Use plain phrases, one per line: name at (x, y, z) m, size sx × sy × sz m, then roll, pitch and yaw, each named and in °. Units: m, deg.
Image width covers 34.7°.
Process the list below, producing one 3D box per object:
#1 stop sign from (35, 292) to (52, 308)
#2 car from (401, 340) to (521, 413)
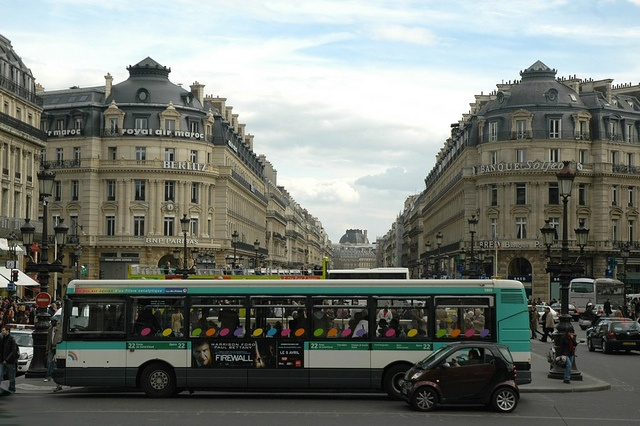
stop sign at (-13.282, 4.224, 49.165) m, size 0.639 × 0.486 × 0.886 m, roll 4°, pitch 2°, yaw -14°
car at (6.316, 7.162, 45.892) m, size 5.419 × 2.772 × 2.437 m, roll 0°, pitch -3°, yaw 1°
